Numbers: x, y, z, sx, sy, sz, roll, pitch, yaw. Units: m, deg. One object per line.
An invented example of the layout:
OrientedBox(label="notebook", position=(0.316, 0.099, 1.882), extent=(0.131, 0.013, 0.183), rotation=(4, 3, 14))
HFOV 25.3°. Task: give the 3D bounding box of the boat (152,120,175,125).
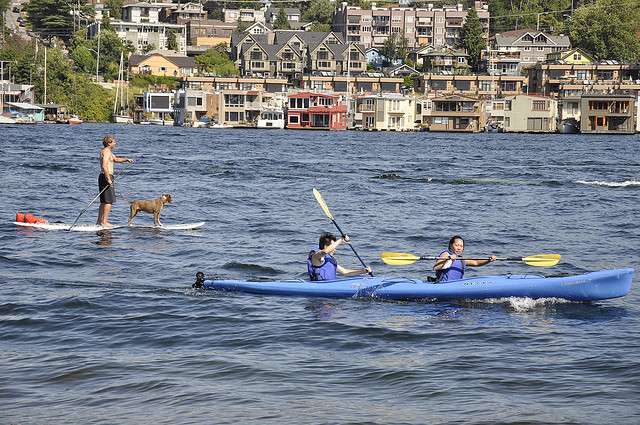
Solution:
OrientedBox(label="boat", position=(-20.683, -12.012, 190.909), extent=(3.638, 0.670, 0.900), rotation=(2, 3, -4))

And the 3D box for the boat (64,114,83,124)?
OrientedBox(label="boat", position=(-31.901, -11.917, 185.664), extent=(0.866, 0.999, 2.736), rotation=(0, -1, 29))
